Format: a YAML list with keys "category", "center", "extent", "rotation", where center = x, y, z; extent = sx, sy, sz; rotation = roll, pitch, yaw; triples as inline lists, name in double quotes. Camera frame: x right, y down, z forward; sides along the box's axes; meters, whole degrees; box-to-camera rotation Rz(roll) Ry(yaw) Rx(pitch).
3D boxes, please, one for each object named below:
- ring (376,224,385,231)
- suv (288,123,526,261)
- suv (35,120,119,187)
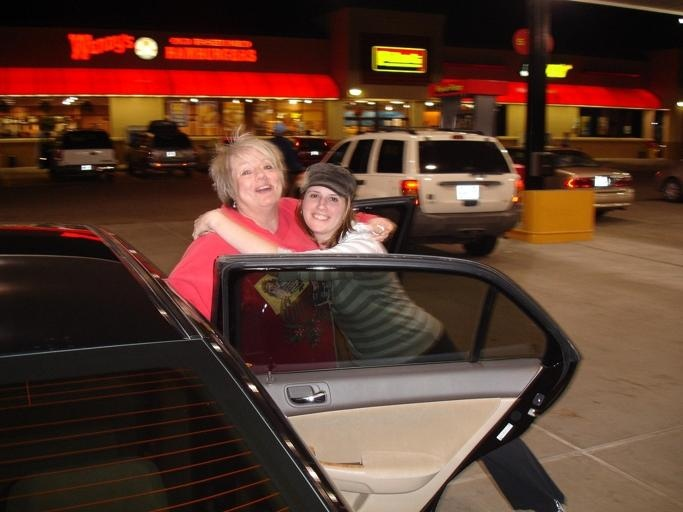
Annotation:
- category: "ring"
  center: [0.226, -0.161, 2.828]
  extent: [0.042, 0.008, 0.037]
  rotation: [-10, 27, -38]
- category: "suv"
  center: [1.178, -0.892, 11.319]
  extent: [2.856, 1.851, 5.285]
  rotation: [-1, -5, -29]
- category: "suv"
  center: [-13.493, -5.242, 25.216]
  extent: [2.675, 2.370, 6.165]
  rotation: [-9, 17, -32]
